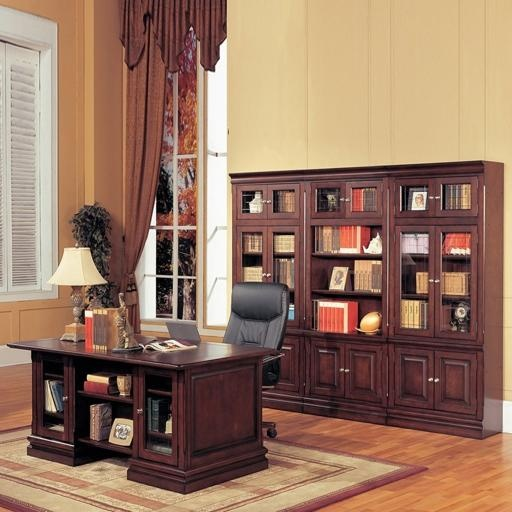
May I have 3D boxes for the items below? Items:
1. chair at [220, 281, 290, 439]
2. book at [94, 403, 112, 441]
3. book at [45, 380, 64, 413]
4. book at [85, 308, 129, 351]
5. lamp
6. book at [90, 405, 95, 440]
[{"bbox_3d":[-0.076,0.803,4.556,0.592,1.204,0.632,-2,-9,44],"label":"chair"},{"bbox_3d":[-0.988,1.068,3.779,0.074,0.288,0.183,1,-2,15],"label":"book"},{"bbox_3d":[-1.381,0.965,4.021,0.154,0.219,0.057,2,1,3],"label":"book"},{"bbox_3d":[-0.973,0.455,3.948,0.219,0.373,0.312,1,2,38],"label":"book"},{"bbox_3d":[-1.351,0.239,4.446,0.504,1.057,0.497,-1,5,-24],"label":"lamp"},{"bbox_3d":[-1.053,1.070,3.795,0.029,0.175,0.143,2,0,-8],"label":"book"}]
